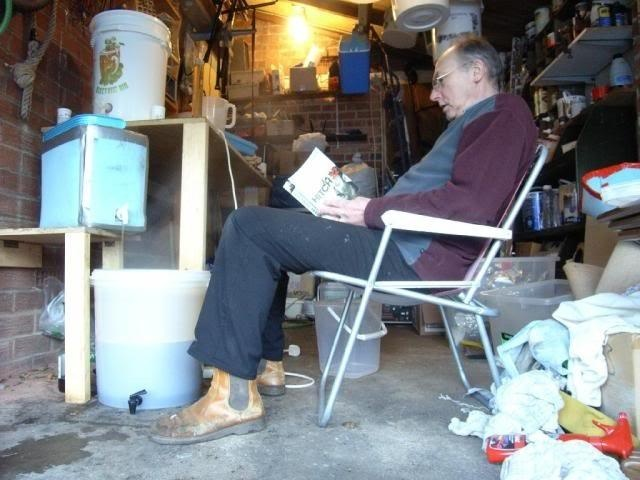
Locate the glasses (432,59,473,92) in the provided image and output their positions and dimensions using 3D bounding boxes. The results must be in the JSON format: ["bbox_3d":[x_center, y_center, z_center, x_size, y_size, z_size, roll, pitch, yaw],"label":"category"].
[{"bbox_3d":[0.563,-0.693,2.117,0.104,0.032,0.097,-27,9,6],"label":"glasses"}]

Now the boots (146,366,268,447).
[{"bbox_3d":[-0.376,0.604,1.821,0.424,0.284,0.180,3,-6,-9],"label":"boots"}]

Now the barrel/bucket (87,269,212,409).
[{"bbox_3d":[-0.643,0.405,2.277,0.541,0.576,0.537,1,-1,0],"label":"barrel/bucket"}]

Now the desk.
[{"bbox_3d":[-0.725,-0.224,2.779,1.009,1.355,1.978,0,4,-3],"label":"desk"}]

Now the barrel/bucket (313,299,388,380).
[{"bbox_3d":[0.159,0.503,2.600,0.343,0.417,0.506,1,-5,19],"label":"barrel/bucket"}]

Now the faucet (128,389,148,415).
[{"bbox_3d":[-0.693,0.630,1.956,0.095,0.098,0.056,2,-3,-18],"label":"faucet"}]

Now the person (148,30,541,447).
[{"bbox_3d":[0.110,-0.081,1.980,1.389,1.567,0.596,0,3,-15],"label":"person"}]

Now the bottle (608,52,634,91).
[{"bbox_3d":[1.810,-1.013,3.010,0.117,0.245,0.230,2,3,31],"label":"bottle"}]

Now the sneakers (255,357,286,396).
[{"bbox_3d":[-0.214,0.618,2.345,0.090,0.187,0.195,3,-1,-33],"label":"sneakers"}]
